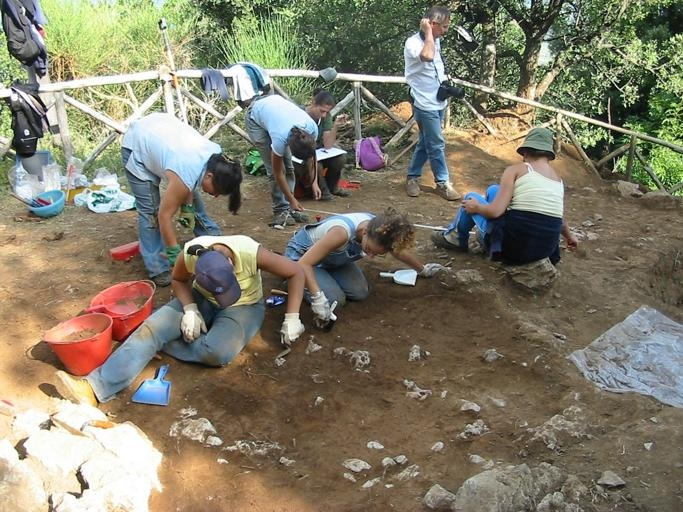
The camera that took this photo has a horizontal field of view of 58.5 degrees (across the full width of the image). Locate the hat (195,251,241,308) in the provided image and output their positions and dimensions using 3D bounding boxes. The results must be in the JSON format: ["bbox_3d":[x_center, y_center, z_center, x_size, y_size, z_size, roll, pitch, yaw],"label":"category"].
[{"bbox_3d":[-0.955,0.181,4.634,0.313,0.463,0.257,-9,34,-15],"label":"hat"}]

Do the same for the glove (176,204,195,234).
[{"bbox_3d":[-1.397,-0.360,5.414,0.137,0.224,0.166,10,20,28],"label":"glove"}]

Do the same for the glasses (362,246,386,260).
[{"bbox_3d":[0.225,-0.018,5.181,0.127,0.056,0.149,7,15,-33],"label":"glasses"}]

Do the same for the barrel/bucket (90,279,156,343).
[{"bbox_3d":[-1.684,0.461,5.035,0.626,0.209,0.415,-20,42,-24],"label":"barrel/bucket"}]

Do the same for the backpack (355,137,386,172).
[{"bbox_3d":[0.394,-1.482,8.806,0.510,0.460,0.205,-14,0,-2],"label":"backpack"}]

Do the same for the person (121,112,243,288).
[{"bbox_3d":[-1.396,-0.464,5.479,1.303,1.315,0.929,12,31,10],"label":"person"}]

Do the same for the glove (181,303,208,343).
[{"bbox_3d":[-1.163,0.521,4.727,0.253,0.262,0.095,-16,-7,-6],"label":"glove"}]

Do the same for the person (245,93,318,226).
[{"bbox_3d":[-0.631,-0.996,6.483,0.773,1.345,0.972,-2,32,-4],"label":"person"}]

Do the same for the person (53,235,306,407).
[{"bbox_3d":[-1.099,0.529,4.711,1.485,0.731,1.475,18,37,4],"label":"person"}]

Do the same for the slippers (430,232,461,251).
[{"bbox_3d":[1.039,-0.151,6.109,0.372,0.115,0.160,18,-3,25],"label":"slippers"}]

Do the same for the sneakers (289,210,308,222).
[{"bbox_3d":[-0.472,-0.461,6.718,0.273,0.102,0.077,8,44,5],"label":"sneakers"}]

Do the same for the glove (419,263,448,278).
[{"bbox_3d":[0.827,0.122,5.699,0.369,0.141,0.093,-9,76,-18],"label":"glove"}]

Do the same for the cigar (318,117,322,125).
[{"bbox_3d":[-0.266,-1.661,7.443,0.025,0.080,0.095,4,8,27],"label":"cigar"}]

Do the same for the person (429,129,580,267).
[{"bbox_3d":[1.654,-0.580,5.952,1.099,1.170,1.571,-2,11,-34],"label":"person"}]

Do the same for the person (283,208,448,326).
[{"bbox_3d":[0.208,0.134,5.387,0.839,1.025,0.705,-26,81,-45],"label":"person"}]

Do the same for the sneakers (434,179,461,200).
[{"bbox_3d":[1.338,-0.831,7.651,0.436,0.182,0.166,25,64,42],"label":"sneakers"}]

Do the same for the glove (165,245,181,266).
[{"bbox_3d":[-1.428,-0.019,5.130,0.105,0.160,0.108,13,59,-17],"label":"glove"}]
